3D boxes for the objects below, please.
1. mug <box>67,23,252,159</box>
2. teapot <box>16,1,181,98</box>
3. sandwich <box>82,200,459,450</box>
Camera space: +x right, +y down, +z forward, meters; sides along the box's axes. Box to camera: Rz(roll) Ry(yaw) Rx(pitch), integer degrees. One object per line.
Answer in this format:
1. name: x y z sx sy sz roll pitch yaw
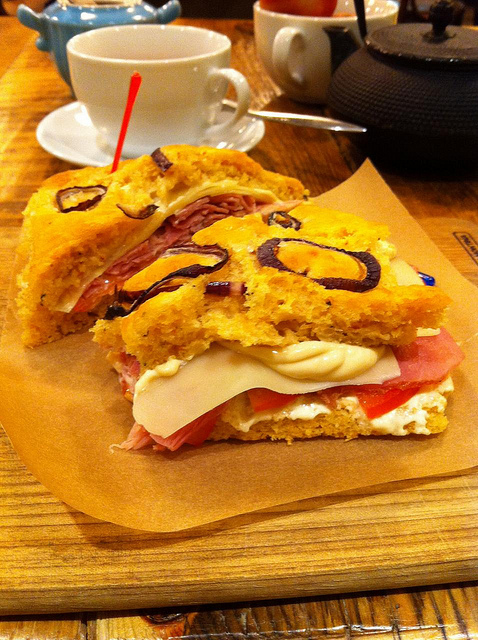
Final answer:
1. mug: -0.213 -0.593 1.665 0.408 0.282 0.340 -12 44 -8
2. teapot: -0.420 -0.829 2.049 0.671 0.303 0.354 -6 45 -4
3. sandwich: 0.050 0.019 0.982 0.533 0.143 0.366 -3 41 -6
